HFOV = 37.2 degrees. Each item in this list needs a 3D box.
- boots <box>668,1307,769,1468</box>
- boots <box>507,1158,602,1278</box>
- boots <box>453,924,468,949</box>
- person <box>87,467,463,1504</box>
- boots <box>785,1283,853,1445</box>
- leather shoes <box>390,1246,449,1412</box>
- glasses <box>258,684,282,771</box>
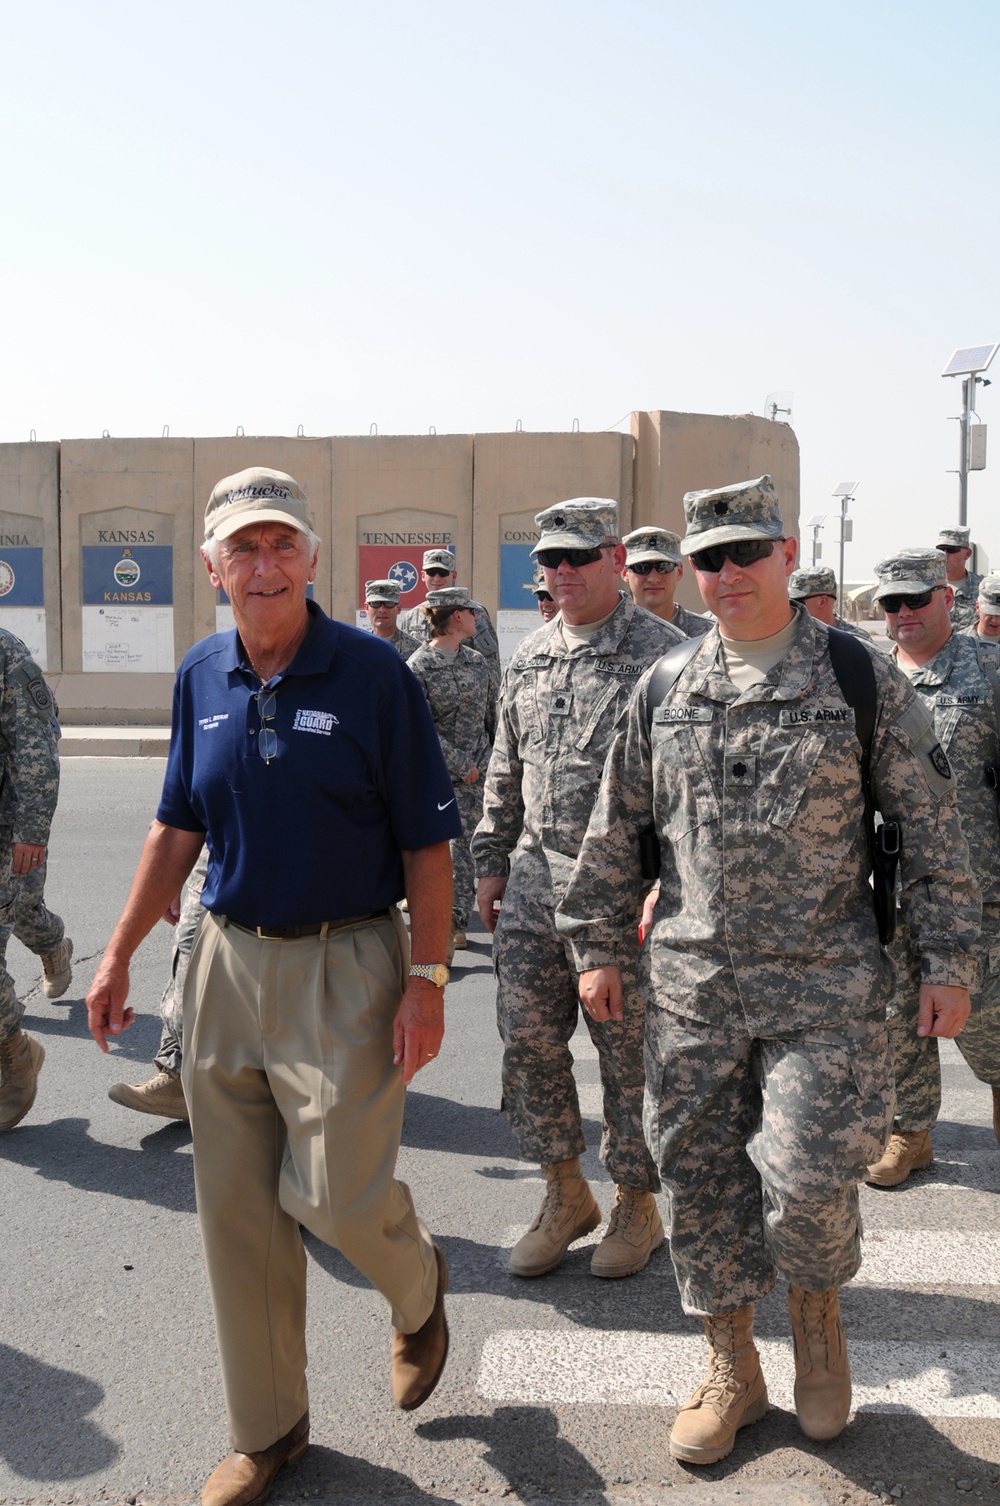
[{"bbox_3d":[0.462,1.328,3.163,0.116,0.260,0.305,-3,3,32],"label":"boots"},{"bbox_3d":[0.133,1.279,4.142,0.139,0.246,0.378,4,15,39],"label":"boots"},{"bbox_3d":[-0.231,1.047,8.438,0.086,0.113,0.128,-4,22,15],"label":"boots"},{"bbox_3d":[-0.465,0.440,3.054,0.723,2.038,0.570,0,4,7],"label":"person"},{"bbox_3d":[0.694,1.275,3.166,0.151,0.330,0.151,0,4,-1],"label":"boots"},{"bbox_3d":[-0.148,1.233,3.192,0.115,0.311,0.143,-6,-19,45],"label":"leather shoes"},{"bbox_3d":[-0.468,-0.060,3.016,0.047,0.168,0.075,-1,4,-9],"label":"glasses"}]
